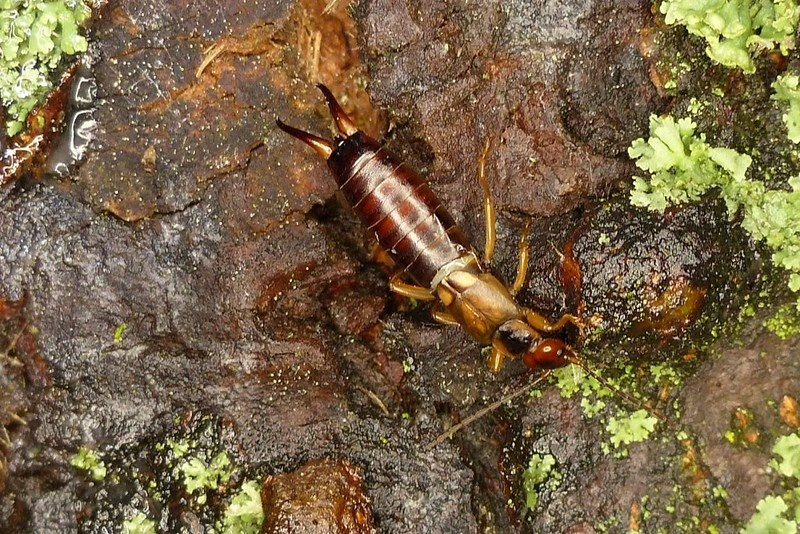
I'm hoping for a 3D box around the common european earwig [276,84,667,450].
[{"bbox_3d":[0.478,-0.091,8.477,1.240,1.026,3.210,-40,82,-5],"label":"common european earwig"}]
